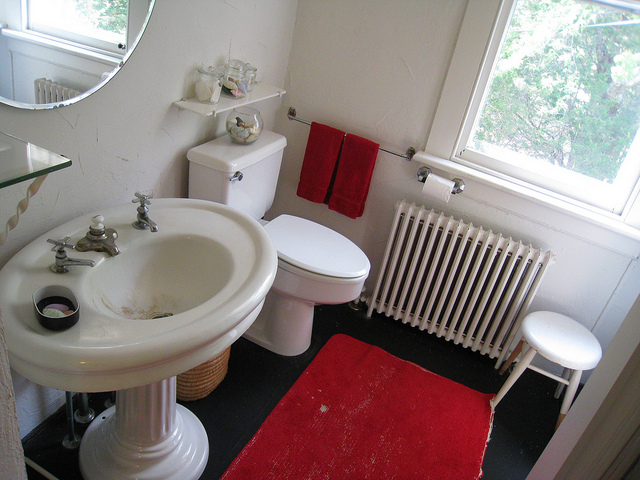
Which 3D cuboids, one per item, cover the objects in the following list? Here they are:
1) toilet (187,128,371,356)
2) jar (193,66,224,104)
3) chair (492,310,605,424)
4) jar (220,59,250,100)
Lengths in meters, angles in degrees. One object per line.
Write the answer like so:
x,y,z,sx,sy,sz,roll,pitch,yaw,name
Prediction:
-0.142,0.043,2.367,0.850,1.004,0.505,20,25,13,toilet
-0.431,-0.595,1.968,0.121,0.130,0.127,14,26,-7,jar
1.036,0.570,2.308,0.339,0.430,0.416,23,32,23,chair
-0.343,-0.652,2.020,0.124,0.151,0.151,24,28,10,jar
